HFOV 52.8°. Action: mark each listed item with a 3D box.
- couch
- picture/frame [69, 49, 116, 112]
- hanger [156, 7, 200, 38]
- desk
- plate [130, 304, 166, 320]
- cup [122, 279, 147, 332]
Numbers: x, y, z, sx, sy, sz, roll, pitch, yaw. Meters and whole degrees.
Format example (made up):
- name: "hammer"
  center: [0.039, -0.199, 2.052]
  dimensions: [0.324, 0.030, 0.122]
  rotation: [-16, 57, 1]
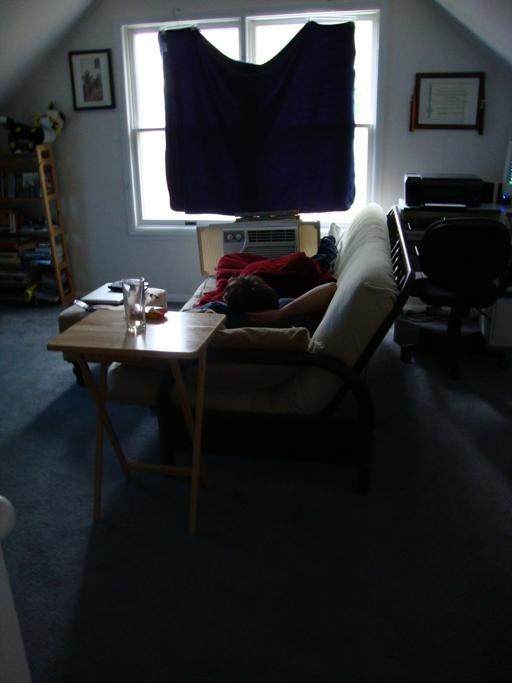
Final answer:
- name: "couch"
  center: [0.164, -0.194, 2.231]
  dimensions: [0.746, 0.764, 1.542]
  rotation: [12, 22, 6]
- name: "picture/frame"
  center: [-1.183, -1.906, 3.734]
  dimensions: [0.329, 0.500, 0.030]
  rotation: [0, 16, 7]
- name: "hanger"
  center: [-0.523, -2.145, 3.463]
  dimensions: [0.169, 0.220, 0.127]
  rotation: [3, -21, 3]
- name: "desk"
  center: [-0.315, 0.251, 1.477]
  dimensions: [0.359, 0.607, 0.396]
  rotation: [2, 17, 4]
- name: "plate"
  center: [-0.304, -0.080, 1.432]
  dimensions: [0.071, 0.043, 0.107]
  rotation: [-1, 15, -19]
- name: "cup"
  center: [-0.320, -0.093, 1.358]
  dimensions: [0.055, 0.117, 0.122]
  rotation: [-5, 21, -14]
